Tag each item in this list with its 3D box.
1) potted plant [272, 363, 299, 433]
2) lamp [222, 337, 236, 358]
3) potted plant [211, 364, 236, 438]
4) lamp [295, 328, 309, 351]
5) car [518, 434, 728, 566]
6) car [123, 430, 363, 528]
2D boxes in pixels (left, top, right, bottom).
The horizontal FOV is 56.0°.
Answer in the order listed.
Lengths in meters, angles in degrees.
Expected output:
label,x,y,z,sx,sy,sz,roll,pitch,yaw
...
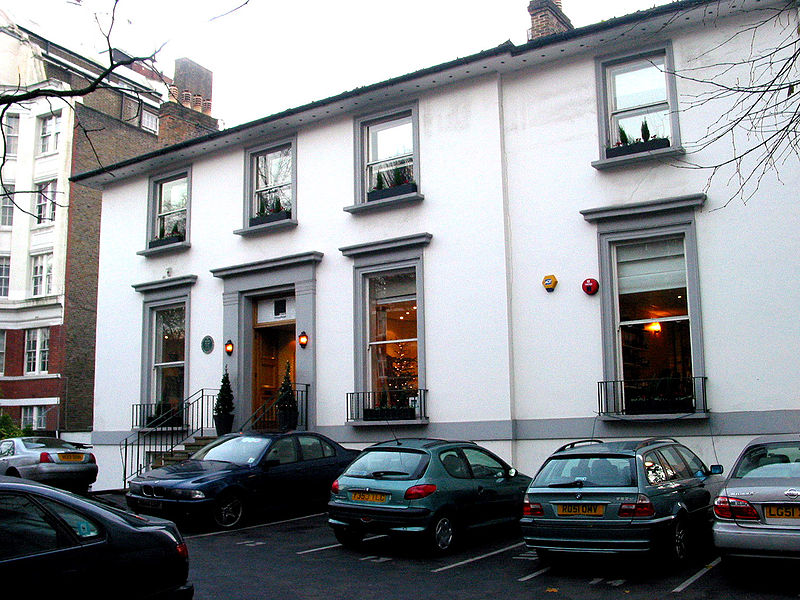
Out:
label,x,y,z,sx,sy,sz,roll,pitch,yaw
potted plant,-2.654,2.230,17.561,0.506,1.540,0.515,-1,-10,-8
lamp,-4.356,1.187,19.110,0.330,0.451,0.116,-8,-11,30
potted plant,-4.316,2.505,18.410,0.469,1.563,0.640,0,-10,-14
lamp,-2.343,0.946,18.015,0.336,0.442,0.102,-10,-13,40
car,3.541,2.807,10.943,1.454,0.946,3.048,-7,-8,36
car,-2.947,3.265,13.862,1.906,1.165,3.932,-7,-11,36
